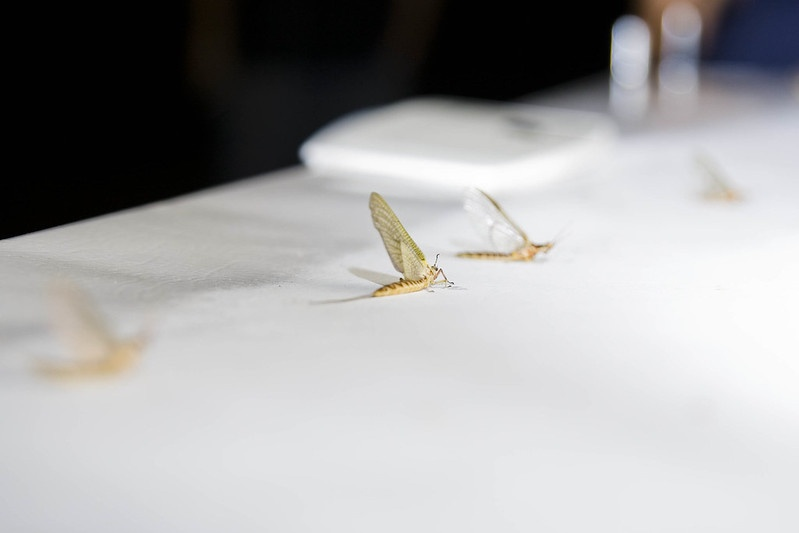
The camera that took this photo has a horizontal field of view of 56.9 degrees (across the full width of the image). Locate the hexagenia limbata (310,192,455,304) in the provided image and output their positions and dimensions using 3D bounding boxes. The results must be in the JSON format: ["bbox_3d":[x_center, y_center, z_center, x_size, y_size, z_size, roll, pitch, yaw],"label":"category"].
[{"bbox_3d":[-0.023,-0.026,0.870,0.133,0.129,0.075,12,18,-30],"label":"hexagenia limbata"}]

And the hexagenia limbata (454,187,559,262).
[{"bbox_3d":[0.138,-0.045,0.933,0.103,0.103,0.050,15,69,14],"label":"hexagenia limbata"}]
